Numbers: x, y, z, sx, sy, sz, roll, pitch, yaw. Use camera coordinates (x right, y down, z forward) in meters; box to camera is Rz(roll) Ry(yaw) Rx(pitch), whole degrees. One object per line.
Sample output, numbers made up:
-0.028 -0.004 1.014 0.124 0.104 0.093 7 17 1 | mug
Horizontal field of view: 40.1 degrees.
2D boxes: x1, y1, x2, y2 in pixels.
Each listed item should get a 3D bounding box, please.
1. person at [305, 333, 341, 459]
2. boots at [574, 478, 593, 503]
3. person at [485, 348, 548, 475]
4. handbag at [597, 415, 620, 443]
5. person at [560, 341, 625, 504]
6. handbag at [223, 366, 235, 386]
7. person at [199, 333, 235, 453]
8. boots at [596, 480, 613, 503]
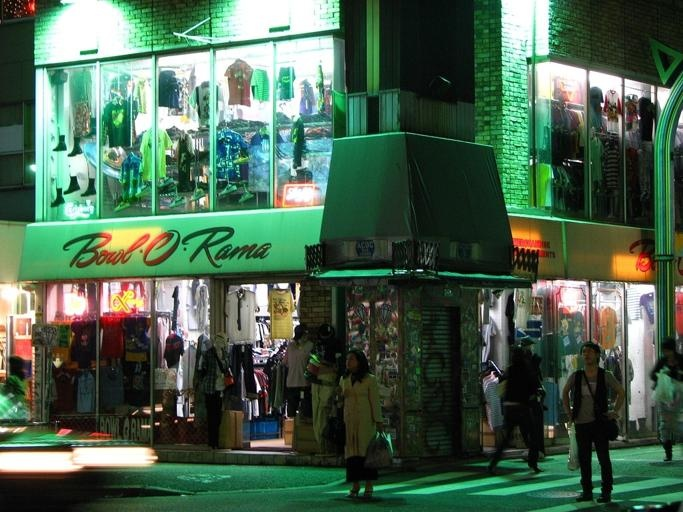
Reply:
-0.358 2.601 18.107 0.641 2.467 0.594 -3 -5 8 | person
3.609 3.493 13.887 0.306 0.291 0.221 -2 -5 -5 | boots
3.200 2.806 17.062 1.189 2.272 0.575 2 -7 -38 | person
4.009 2.550 13.955 0.201 0.377 0.361 -6 -7 37 | handbag
3.788 2.482 14.040 0.844 2.341 0.560 -4 -5 13 | person
-2.338 2.531 19.537 0.171 0.372 0.483 -3 -5 3 | handbag
-2.596 2.813 19.415 0.642 2.353 0.355 -2 -5 -7 | person
3.898 3.490 13.831 0.171 0.290 0.437 -6 -6 36 | boots
